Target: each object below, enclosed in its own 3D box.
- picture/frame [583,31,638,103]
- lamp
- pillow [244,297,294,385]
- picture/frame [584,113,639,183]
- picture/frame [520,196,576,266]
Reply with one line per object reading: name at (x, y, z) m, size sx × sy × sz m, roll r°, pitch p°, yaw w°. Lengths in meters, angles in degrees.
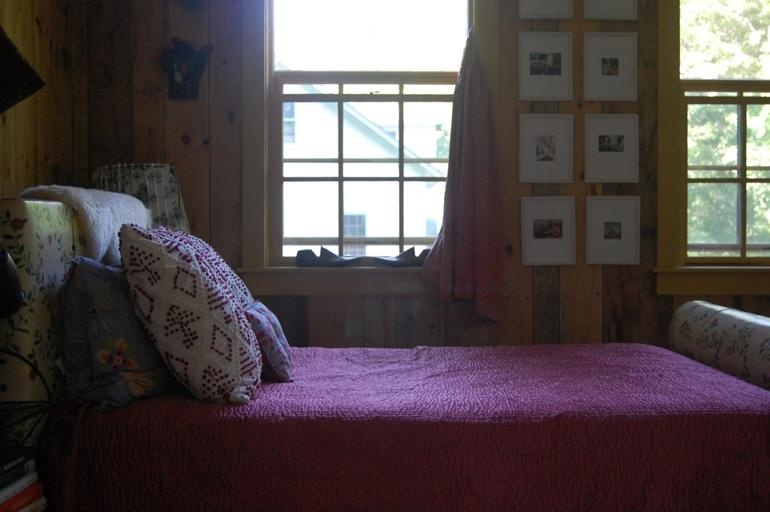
picture/frame at (1.271, -1.078, 3.970) m, size 0.326 × 0.446 × 0.029 m, roll 0°, pitch -1°, yaw 1°
lamp at (-1.320, -0.335, 3.818) m, size 0.371 × 0.473 × 0.407 m, roll -3°, pitch 1°, yaw -6°
pillow at (-0.527, 0.391, 3.162) m, size 0.156 × 0.399 × 0.144 m, roll 2°, pitch -34°, yaw -43°
picture/frame at (1.281, -0.611, 3.972) m, size 0.333 × 0.473 × 0.031 m, roll 0°, pitch -2°, yaw 0°
picture/frame at (0.920, -0.145, 3.967) m, size 0.324 × 0.476 × 0.032 m, roll 0°, pitch -1°, yaw -2°
